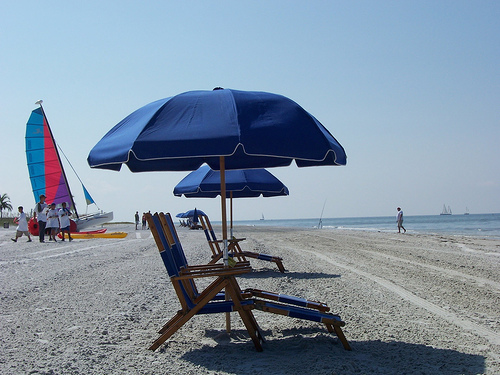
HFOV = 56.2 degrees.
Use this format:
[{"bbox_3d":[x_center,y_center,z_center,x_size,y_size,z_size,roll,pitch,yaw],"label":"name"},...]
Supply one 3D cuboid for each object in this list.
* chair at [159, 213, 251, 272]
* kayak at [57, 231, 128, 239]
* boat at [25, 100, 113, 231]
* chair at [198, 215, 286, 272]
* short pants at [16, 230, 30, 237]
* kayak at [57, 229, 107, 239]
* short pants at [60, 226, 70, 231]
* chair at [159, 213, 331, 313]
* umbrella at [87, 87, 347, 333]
[{"bbox_3d":[-0.663,0.771,6.439,1.000,0.872,0.710,-7,-4,-6],"label":"chair"},{"bbox_3d":[-9.496,2.843,27.934,4.223,0.534,0.889,0,-7,-7],"label":"kayak"},{"bbox_3d":[-15.124,-1.642,39.370,7.004,11.765,2.263,-3,32,-21],"label":"boat"},{"bbox_3d":[-0.154,1.439,11.546,2.004,1.667,1.050,-2,-3,2],"label":"chair"},{"bbox_3d":[-10.770,2.156,22.061,0.487,0.412,0.522,0,-8,-13],"label":"short pants"},{"bbox_3d":[-10.757,3.134,30.945,4.777,0.609,0.845,0,1,22],"label":"kayak"},{"bbox_3d":[-8.735,1.962,22.118,0.372,0.222,0.584,-6,-2,-26],"label":"short pants"},{"bbox_3d":[-0.074,1.074,6.066,2.044,1.300,1.084,-1,1,-3],"label":"chair"},{"bbox_3d":[-0.239,0.617,6.997,3.100,3.709,3.317,-2,-1,21],"label":"umbrella"}]
